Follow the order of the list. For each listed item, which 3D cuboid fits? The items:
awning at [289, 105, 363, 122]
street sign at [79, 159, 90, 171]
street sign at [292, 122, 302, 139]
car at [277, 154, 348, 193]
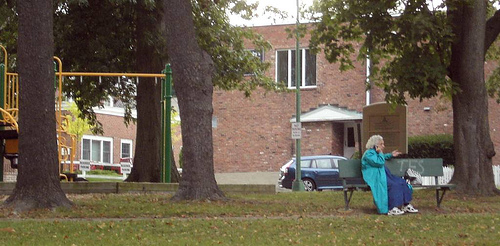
[{"bbox_3d":[5.158,-0.515,54.580,5.077,0.988,0.857,-3,-9,28],"label":"awning"},{"bbox_3d":[-11.520,2.973,56.888,0.741,0.726,1.436,0,-5,-12],"label":"street sign"},{"bbox_3d":[2.520,0.406,44.687,0.449,0.926,0.633,-1,-5,2],"label":"street sign"},{"bbox_3d":[4.434,2.758,46.683,6.514,2.051,2.532,0,6,-19],"label":"car"}]
